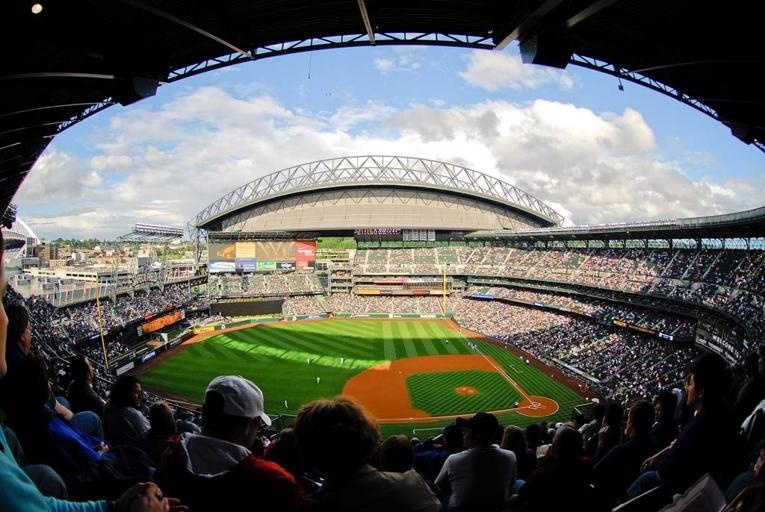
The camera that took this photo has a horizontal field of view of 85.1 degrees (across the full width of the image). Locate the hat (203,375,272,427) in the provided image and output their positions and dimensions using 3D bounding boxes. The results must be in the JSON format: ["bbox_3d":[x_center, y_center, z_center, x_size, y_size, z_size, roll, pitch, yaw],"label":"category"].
[{"bbox_3d":[-2.213,2.217,6.467,1.264,0.607,0.900,20,-20,-30],"label":"hat"}]
